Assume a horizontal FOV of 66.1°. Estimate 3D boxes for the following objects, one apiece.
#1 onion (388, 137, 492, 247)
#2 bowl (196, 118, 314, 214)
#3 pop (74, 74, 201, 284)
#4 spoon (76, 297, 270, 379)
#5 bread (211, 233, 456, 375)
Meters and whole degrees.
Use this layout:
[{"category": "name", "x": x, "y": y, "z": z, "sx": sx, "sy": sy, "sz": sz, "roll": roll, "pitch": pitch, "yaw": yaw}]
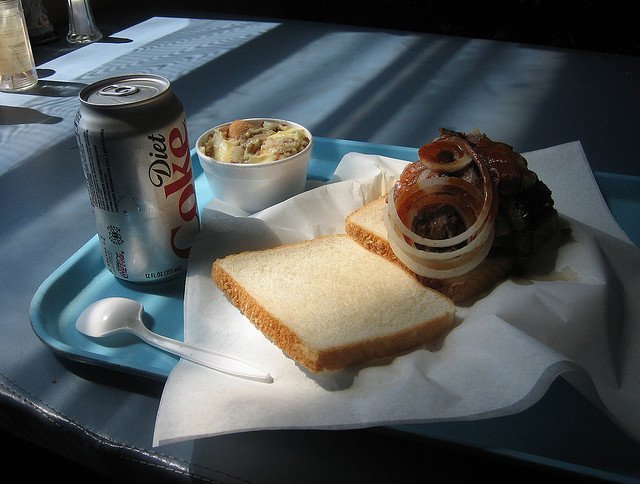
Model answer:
[{"category": "onion", "x": 0.250, "y": -0.112, "z": 0.939, "sx": 0.214, "sy": 0.184, "sz": 0.134, "roll": 14, "pitch": 25, "yaw": 37}, {"category": "bowl", "x": -0.145, "y": -0.150, "z": 1.143, "sx": 0.249, "sy": 0.126, "sz": 0.235, "roll": -1, "pitch": 33, "yaw": 1}, {"category": "pop", "x": -0.328, "y": -0.106, "z": 0.980, "sx": 0.188, "sy": 0.414, "sz": 0.188, "roll": -13, "pitch": 31, "yaw": -23}, {"category": "spoon", "x": -0.279, "y": 0.159, "z": 0.857, "sx": 0.412, "sy": 0.038, "sz": 0.128, "roll": 17, "pitch": 35, "yaw": 20}, {"category": "bread", "x": 0.016, "y": 0.100, "z": 0.923, "sx": 0.305, "sy": 0.049, "sz": 0.265, "roll": -10, "pitch": 30, "yaw": -27}]
